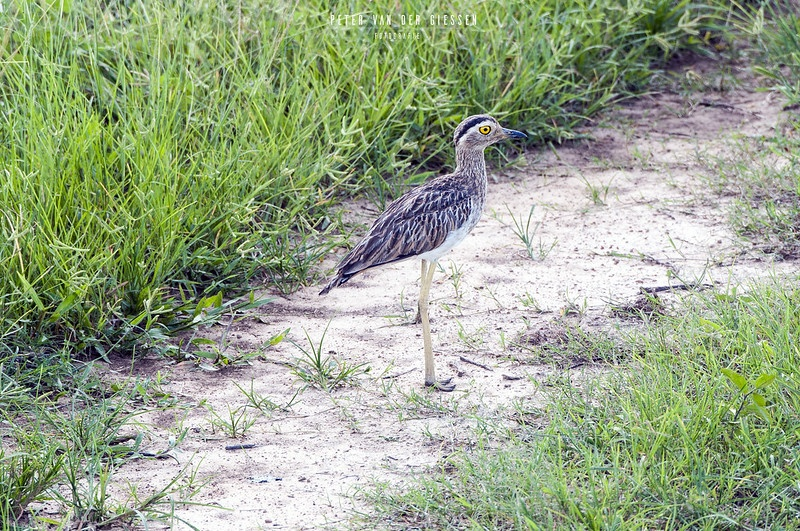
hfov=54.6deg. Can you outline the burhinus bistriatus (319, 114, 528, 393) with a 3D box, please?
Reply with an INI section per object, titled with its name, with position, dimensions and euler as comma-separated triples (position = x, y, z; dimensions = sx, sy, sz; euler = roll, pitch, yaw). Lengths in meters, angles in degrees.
[burhinus bistriatus]
position = 0.055, -0.210, 5.355
dimensions = 0.921, 1.476, 1.447
euler = 12, 26, 10
